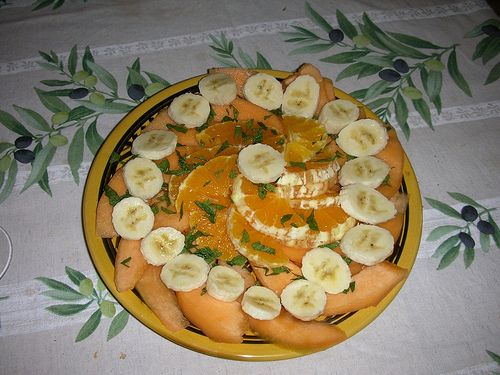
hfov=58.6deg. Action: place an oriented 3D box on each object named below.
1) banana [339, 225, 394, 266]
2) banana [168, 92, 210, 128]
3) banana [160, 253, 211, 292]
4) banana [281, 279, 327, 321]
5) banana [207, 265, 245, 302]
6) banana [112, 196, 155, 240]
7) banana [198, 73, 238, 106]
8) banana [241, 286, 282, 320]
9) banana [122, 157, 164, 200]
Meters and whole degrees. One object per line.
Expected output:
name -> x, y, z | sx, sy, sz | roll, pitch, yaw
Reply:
banana -> 0.662, 0.319, 2.521 | 0.277, 0.062, 0.229 | 20, 84, 3
banana -> -0.357, -0.476, 2.747 | 0.207, 0.050, 0.212 | 10, 58, -6
banana -> -0.346, 0.447, 2.435 | 0.203, 0.051, 0.199 | 7, 55, -4
banana -> 0.304, 0.604, 2.372 | 0.207, 0.052, 0.209 | 2, 57, 3
banana -> -0.133, 0.527, 2.415 | 0.191, 0.076, 0.171 | 12, 84, 3
banana -> -0.651, 0.175, 2.493 | 0.236, 0.061, 0.217 | 41, 86, 5
banana -> -0.210, -0.655, 2.786 | 0.219, 0.225, 0.055 | -12, 58, -5
banana -> 0.065, 0.627, 2.398 | 0.207, 0.092, 0.167 | 8, 83, 2
banana -> -0.608, -0.056, 2.547 | 0.203, 0.062, 0.247 | -22, 83, -1
